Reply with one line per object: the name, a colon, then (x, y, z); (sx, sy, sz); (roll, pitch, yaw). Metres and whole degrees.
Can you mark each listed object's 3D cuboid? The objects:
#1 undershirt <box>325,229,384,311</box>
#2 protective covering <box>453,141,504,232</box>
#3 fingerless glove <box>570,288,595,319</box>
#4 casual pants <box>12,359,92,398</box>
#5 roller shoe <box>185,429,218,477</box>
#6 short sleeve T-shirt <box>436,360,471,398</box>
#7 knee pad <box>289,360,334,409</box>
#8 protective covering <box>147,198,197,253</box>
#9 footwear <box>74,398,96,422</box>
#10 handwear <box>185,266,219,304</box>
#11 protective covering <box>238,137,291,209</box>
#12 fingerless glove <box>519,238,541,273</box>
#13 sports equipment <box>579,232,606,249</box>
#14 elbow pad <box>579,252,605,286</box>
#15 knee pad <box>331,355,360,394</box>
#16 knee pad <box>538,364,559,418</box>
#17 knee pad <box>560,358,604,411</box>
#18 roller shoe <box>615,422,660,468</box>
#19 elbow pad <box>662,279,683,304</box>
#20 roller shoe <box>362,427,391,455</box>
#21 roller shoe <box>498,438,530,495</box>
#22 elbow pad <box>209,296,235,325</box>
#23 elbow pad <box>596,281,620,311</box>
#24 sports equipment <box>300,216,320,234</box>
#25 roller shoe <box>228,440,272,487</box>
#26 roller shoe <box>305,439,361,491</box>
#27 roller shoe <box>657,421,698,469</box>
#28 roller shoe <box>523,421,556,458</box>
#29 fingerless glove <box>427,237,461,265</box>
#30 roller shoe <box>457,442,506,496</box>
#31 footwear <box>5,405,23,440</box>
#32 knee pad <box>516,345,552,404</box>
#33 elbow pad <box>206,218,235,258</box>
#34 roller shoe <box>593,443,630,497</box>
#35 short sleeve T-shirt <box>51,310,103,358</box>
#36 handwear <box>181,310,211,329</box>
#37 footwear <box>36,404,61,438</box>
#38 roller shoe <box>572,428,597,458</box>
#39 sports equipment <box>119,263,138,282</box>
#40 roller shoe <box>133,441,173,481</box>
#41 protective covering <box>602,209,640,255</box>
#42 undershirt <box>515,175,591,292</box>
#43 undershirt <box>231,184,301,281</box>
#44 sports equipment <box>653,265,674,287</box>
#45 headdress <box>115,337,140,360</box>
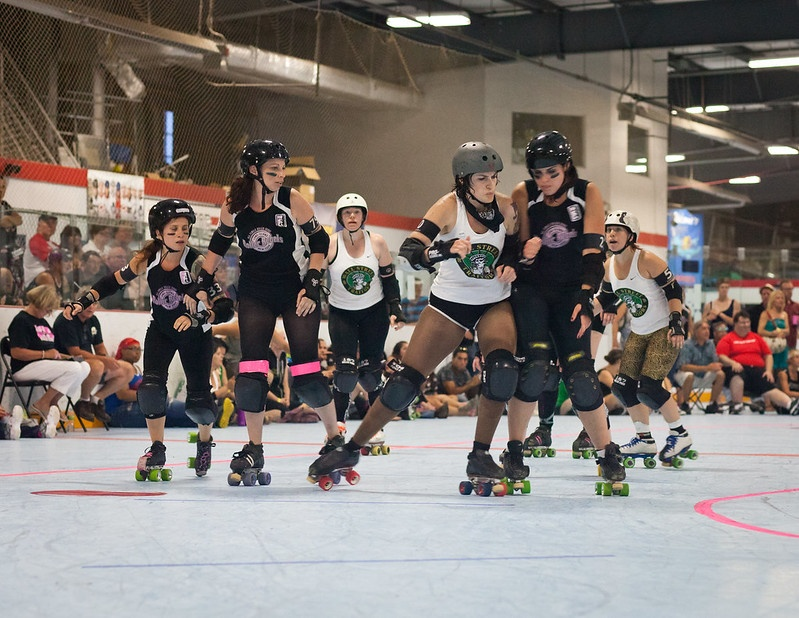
undershirt: (-0.359, -0.377, 8.989); (0.532, 0.770, 0.407); (-8, -2, 3)
protective covering: (0.522, -0.820, 6.531); (0.353, 0.572, 0.249); (2, 0, 7)
fingerless glove: (1.206, -0.027, 6.375); (0.147, 0.198, 0.080); (10, -13, -9)
casual pants: (-3.856, 0.747, 10.799); (0.535, 0.264, 0.415); (7, -3, 12)
roller shoe: (-1.478, 1.093, 7.313); (0.148, 0.473, 0.201); (-1, -2, -19)
short sleeve T-shirt: (0.801, 1.101, 15.483); (0.429, 0.521, 0.508); (1, -7, -40)
knee pad: (-0.641, 0.524, 6.976); (0.240, 0.360, 0.198); (-6, 24, 25)
protective covering: (-1.648, -0.600, 7.174); (0.341, 0.344, 0.271); (-20, -12, 38)
footwear: (-3.719, 1.194, 11.547); (0.284, 0.208, 0.159); (14, 9, 29)
handwear: (-1.409, -0.161, 6.905); (0.167, 0.196, 0.273); (38, -4, -1)
protective covering: (-0.966, -0.986, 7.007); (0.356, 0.446, 0.330); (-7, -2, 12)
fingerless glove: (0.875, -0.355, 6.507); (0.063, 0.186, 0.142); (9, 24, -26)
sports equipment: (1.307, -0.445, 6.508); (0.111, 0.077, 0.112); (5, -4, -23)
elbow pad: (1.269, -0.268, 6.465); (0.155, 0.209, 0.110); (10, -28, 3)
knee pad: (-0.482, 0.577, 8.621); (0.208, 0.309, 0.130); (2, 6, -35)
knee pad: (1.308, 0.756, 8.730); (0.137, 0.607, 0.177); (9, 20, 27)
knee pad: (1.225, 0.526, 6.551); (0.238, 0.360, 0.106); (-16, -10, 5)
roller shoe: (1.993, 1.150, 8.186); (0.300, 0.349, 0.172); (-3, -5, 17)
elbow pad: (2.230, -0.139, 8.011); (0.150, 0.161, 0.090); (-5, -27, -6)
roller shoe: (-0.203, 1.237, 9.069); (0.217, 0.236, 0.417); (-5, -16, 13)
roller shoe: (0.812, 1.073, 6.800); (0.152, 0.299, 0.465); (5, 7, -2)
elbow pad: (-1.286, 0.005, 7.074); (0.153, 0.198, 0.089); (16, 28, 29)
elbow pad: (1.769, -0.100, 8.344); (0.109, 0.270, 0.211); (21, 21, 36)
sports equipment: (-0.624, -0.574, 6.932); (0.135, 0.113, 0.113); (-41, 12, -5)
roller shoe: (-1.059, 1.092, 6.976); (0.235, 0.318, 0.458); (-4, -4, 12)
roller shoe: (-0.446, 1.112, 6.966); (0.180, 0.321, 0.534); (-3, -6, 19)
roller shoe: (2.326, 1.154, 8.230); (0.458, 0.312, 0.174); (-14, 3, -43)
roller shoe: (1.332, 1.210, 8.941); (0.402, 0.333, 0.208); (7, -9, -36)
fingerless glove: (0.275, -0.366, 6.326); (0.170, 0.155, 0.082); (-2, -32, 6)
roller shoe: (0.563, 1.081, 6.569); (0.209, 0.350, 0.337); (8, -9, -40)
footwear: (-4.027, 1.186, 10.147); (0.160, 0.384, 0.124); (-1, -10, 44)
knee pad: (0.860, 0.419, 6.538); (0.134, 0.372, 0.274); (6, 3, 19)
elbow pad: (-1.287, -0.505, 7.040); (0.179, 0.254, 0.091); (23, 14, -1)
roller shoe: (1.438, 1.073, 6.592); (0.221, 0.348, 0.222); (2, 1, 11)
short sleeve T-shirt: (-3.830, 0.290, 11.587); (0.411, 0.599, 0.823); (2, 2, 19)
handwear: (-1.462, 0.070, 7.014); (0.183, 0.116, 0.079); (-8, -32, -29)
footwear: (-3.842, 1.244, 10.703); (0.129, 0.372, 0.150); (22, -29, -40)
roller shoe: (1.643, 1.239, 8.872); (0.153, 0.343, 0.484); (-2, -11, 14)
sports equipment: (-2.024, -0.269, 7.284); (0.128, 0.129, 0.031); (-27, -17, 35)
roller shoe: (-1.764, 1.111, 7.115); (0.194, 0.303, 0.291); (1, -7, 5)
protective covering: (1.803, -0.654, 8.117); (0.356, 0.376, 0.275); (3, -7, -41)
undershirt: (1.099, -0.515, 6.869); (0.690, 1.106, 0.610); (1, 0, 12)
undershirt: (-0.950, -0.415, 7.033); (0.558, 0.802, 0.439); (-7, -5, -10)
sports equipment: (2.185, -0.262, 8.050); (0.120, 0.166, 0.137); (-3, 13, -25)
headdress: (-3.471, 0.498, 12.223); (0.297, 0.324, 0.249); (-6, -6, 32)
